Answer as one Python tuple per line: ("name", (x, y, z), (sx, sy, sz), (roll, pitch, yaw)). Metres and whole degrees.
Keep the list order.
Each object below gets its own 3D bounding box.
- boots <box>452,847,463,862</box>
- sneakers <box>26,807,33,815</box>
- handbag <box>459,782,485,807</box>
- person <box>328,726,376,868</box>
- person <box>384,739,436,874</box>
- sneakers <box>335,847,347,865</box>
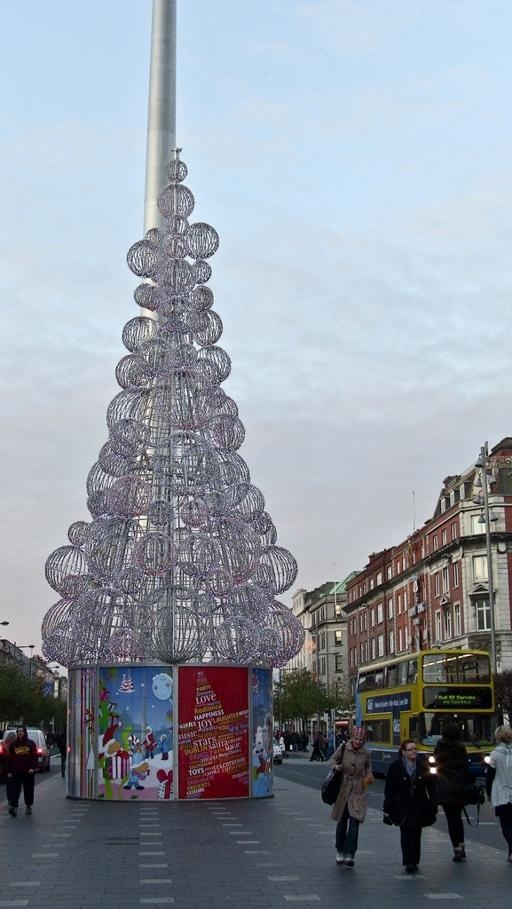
("boots", (2.201, 4.331, 10.607), (0.082, 0.157, 0.159), (2, -7, -7))
("sneakers", (-3.943, 6.211, 17.042), (0.124, 0.191, 0.105), (-12, -18, 39))
("handbag", (2.438, 3.821, 11.023), (0.195, 0.324, 0.782), (-5, -12, 15))
("person", (0.981, 3.543, 10.095), (0.418, 1.404, 1.040), (-3, -11, 5))
("person", (1.521, 3.505, 9.713), (0.502, 1.241, 0.721), (-4, -11, 8))
("sneakers", (0.859, 4.102, 9.986), (0.087, 0.102, 0.237), (2, -2, 2))
